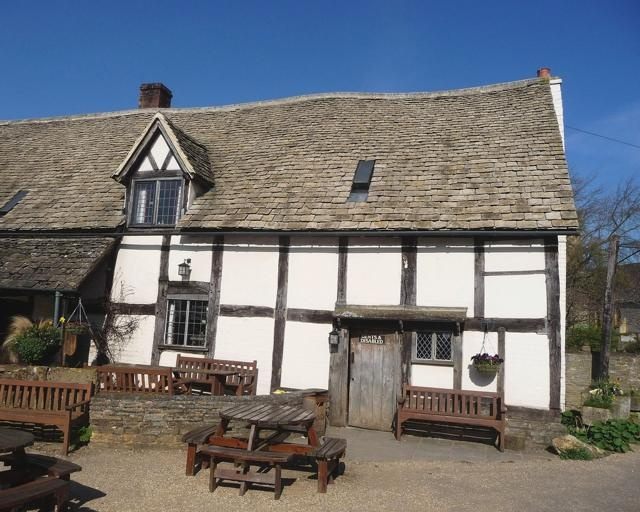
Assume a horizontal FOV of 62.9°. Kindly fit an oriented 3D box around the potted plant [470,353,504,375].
[{"bbox_3d":[3.733,2.329,11.652,0.595,0.376,0.491,1,-14,2],"label":"potted plant"}]

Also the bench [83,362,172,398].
[{"bbox_3d":[-4.193,2.765,11.971,1.706,0.585,1.164,5,-10,-11],"label":"bench"}]

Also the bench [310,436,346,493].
[{"bbox_3d":[0.151,3.387,8.682,0.495,0.695,1.248,2,-10,6],"label":"bench"}]

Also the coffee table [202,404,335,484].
[{"bbox_3d":[-0.731,2.945,8.842,1.553,0.403,1.484,-2,-6,21],"label":"coffee table"}]

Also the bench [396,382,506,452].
[{"bbox_3d":[2.891,3.485,11.552,2.261,0.993,0.630,1,0,17],"label":"bench"}]

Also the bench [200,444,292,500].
[{"bbox_3d":[-1.193,3.382,8.568,1.436,0.686,1.389,3,-10,-2],"label":"bench"}]

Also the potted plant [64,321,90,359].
[{"bbox_3d":[-6.507,2.196,14.023,0.603,0.928,0.908,7,-11,-19],"label":"potted plant"}]

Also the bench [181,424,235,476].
[{"bbox_3d":[-2.040,3.308,9.246,0.431,0.619,1.346,6,-6,9],"label":"bench"}]

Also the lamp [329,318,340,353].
[{"bbox_3d":[0.350,1.941,12.937,0.284,0.821,0.153,2,-11,5],"label":"lamp"}]
